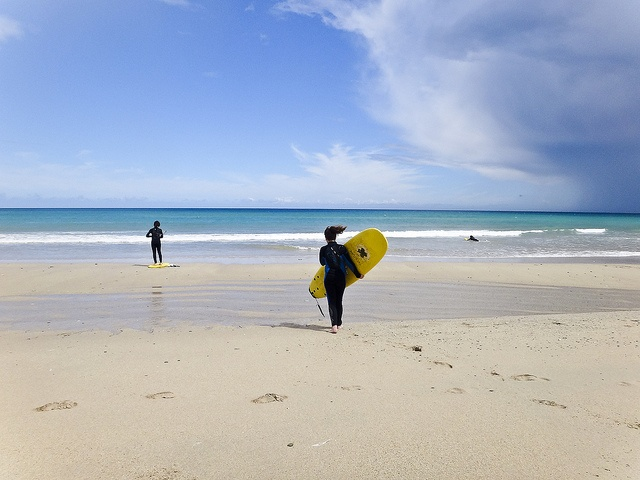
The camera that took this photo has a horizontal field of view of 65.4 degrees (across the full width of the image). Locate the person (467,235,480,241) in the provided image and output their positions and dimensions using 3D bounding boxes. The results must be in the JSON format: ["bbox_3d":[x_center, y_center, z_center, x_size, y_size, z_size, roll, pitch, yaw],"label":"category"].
[{"bbox_3d":[9.599,-0.051,31.373,0.656,0.366,0.890,2,3,5],"label":"person"}]

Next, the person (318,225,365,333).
[{"bbox_3d":[0.278,0.659,8.734,0.558,1.820,0.865,1,4,6],"label":"person"}]

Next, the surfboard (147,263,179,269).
[{"bbox_3d":[-5.171,0.856,16.455,0.989,0.097,0.989,-1,3,-16],"label":"surfboard"}]
